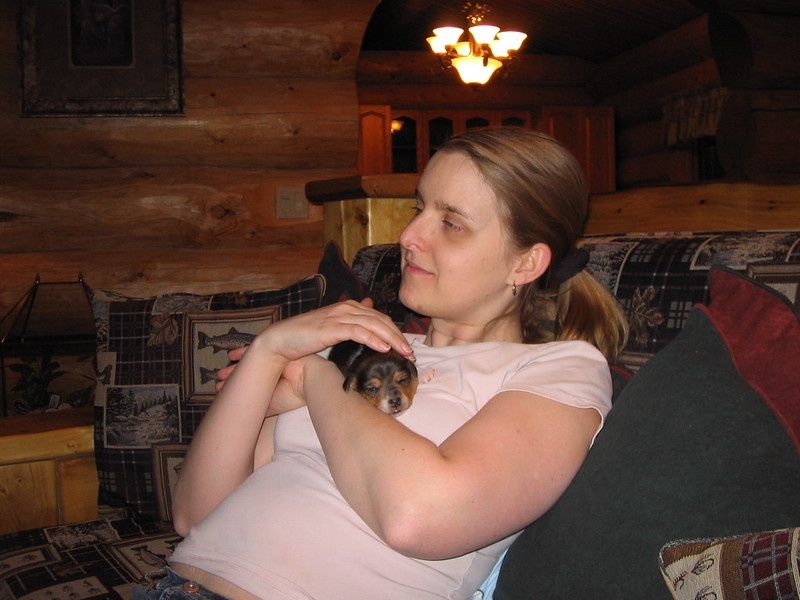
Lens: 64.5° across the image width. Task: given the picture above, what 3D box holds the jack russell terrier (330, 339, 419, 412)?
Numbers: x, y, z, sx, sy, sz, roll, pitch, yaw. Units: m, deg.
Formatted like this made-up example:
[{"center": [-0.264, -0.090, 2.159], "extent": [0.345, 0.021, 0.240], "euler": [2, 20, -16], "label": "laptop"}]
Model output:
[{"center": [-0.071, 0.221, 1.974], "extent": [0.210, 0.090, 0.264], "euler": [-13, 18, -18], "label": "jack russell terrier"}]

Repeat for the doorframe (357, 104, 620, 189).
[{"center": [1.622, -2.622, 10.883], "extent": [4.389, 1.467, 0.700], "euler": [11, 25, 35], "label": "doorframe"}]
